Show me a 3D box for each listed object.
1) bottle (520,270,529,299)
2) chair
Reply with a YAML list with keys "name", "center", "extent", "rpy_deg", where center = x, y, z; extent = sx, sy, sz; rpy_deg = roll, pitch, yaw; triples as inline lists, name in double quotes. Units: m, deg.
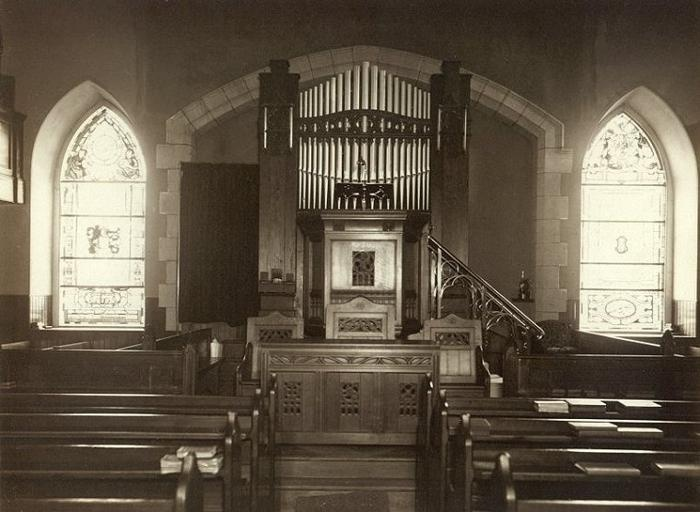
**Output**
- name: "bottle"
  center: [2.545, 0.425, 15.076]
  extent: [0.147, 0.451, 0.236]
  rpy_deg: [0, -5, 9]
- name: "chair"
  center: [0.296, 1.084, 12.384]
  extent: [3.079, 1.164, 1.707]
  rpy_deg: [1, -5, -6]
